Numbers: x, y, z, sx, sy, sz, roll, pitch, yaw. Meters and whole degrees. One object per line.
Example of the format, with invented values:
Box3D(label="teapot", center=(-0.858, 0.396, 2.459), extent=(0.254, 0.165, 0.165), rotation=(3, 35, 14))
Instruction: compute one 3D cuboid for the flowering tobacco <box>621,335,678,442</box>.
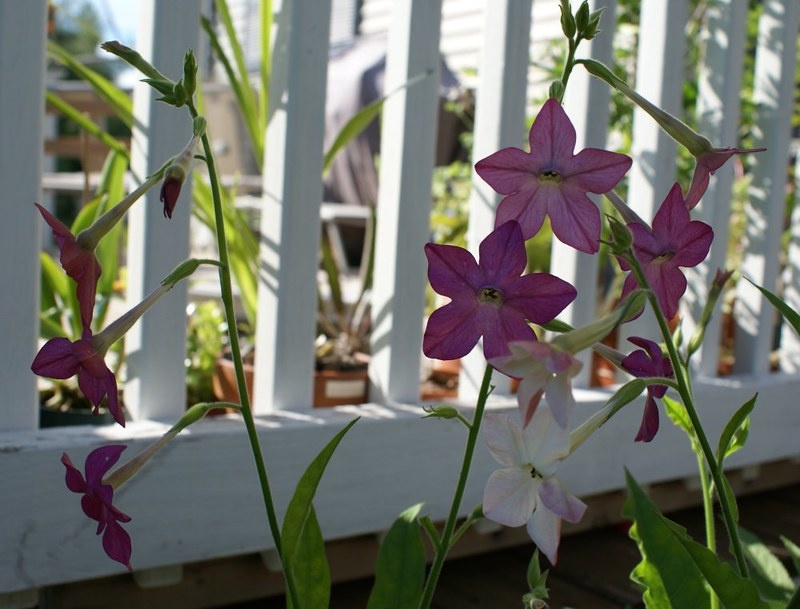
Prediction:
Box3D(label="flowering tobacco", center=(0.337, 0.104, 1.448), extent=(0.067, 0.155, 0.034), rotation=(16, -11, -27))

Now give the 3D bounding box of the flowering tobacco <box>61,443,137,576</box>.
Box3D(label="flowering tobacco", center=(-0.407, 0.266, 1.424), extent=(0.081, 0.171, 0.163), rotation=(-2, 9, -19))

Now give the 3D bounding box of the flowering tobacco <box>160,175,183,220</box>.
Box3D(label="flowering tobacco", center=(-0.300, -0.162, 1.392), extent=(0.025, 0.044, 0.103), rotation=(1, 21, -12))

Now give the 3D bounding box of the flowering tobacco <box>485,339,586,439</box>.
Box3D(label="flowering tobacco", center=(0.167, 0.095, 1.315), extent=(0.108, 0.106, 0.066), rotation=(6, 9, 32))

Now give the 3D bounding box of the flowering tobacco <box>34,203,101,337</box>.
Box3D(label="flowering tobacco", center=(-0.449, -0.045, 1.452), extent=(0.081, 0.183, 0.212), rotation=(-3, 9, -20))
